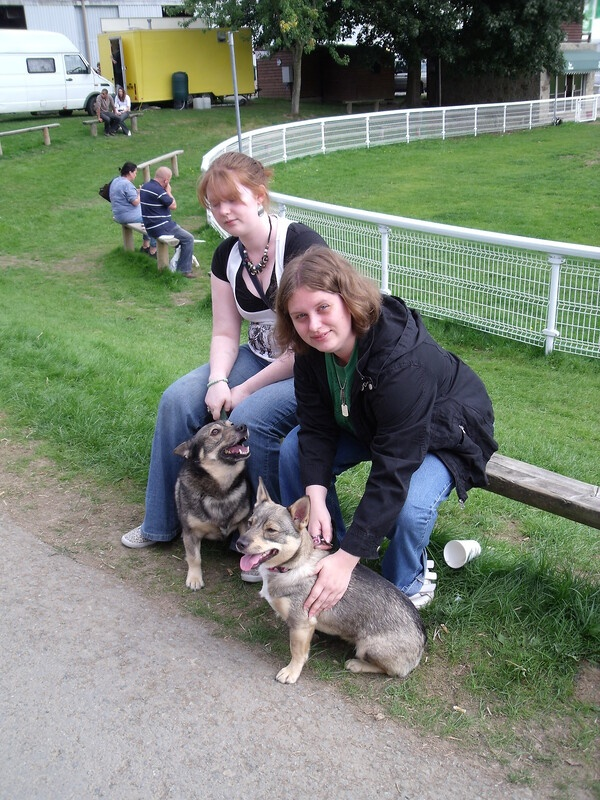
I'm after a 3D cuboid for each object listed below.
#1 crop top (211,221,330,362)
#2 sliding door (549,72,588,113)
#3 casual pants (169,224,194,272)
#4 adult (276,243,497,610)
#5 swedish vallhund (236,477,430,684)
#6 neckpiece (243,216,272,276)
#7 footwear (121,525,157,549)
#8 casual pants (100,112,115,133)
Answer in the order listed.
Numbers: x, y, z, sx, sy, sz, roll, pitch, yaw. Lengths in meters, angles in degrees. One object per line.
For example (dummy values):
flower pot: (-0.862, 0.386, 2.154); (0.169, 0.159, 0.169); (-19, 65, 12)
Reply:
crop top: (-0.175, -0.593, 3.363); (0.590, 0.716, 0.362); (2, 19, 27)
sliding door: (14.980, -17.589, 34.731); (0.447, 2.062, 5.193); (13, 18, 40)
casual pants: (-2.250, -2.925, 11.794); (0.313, 1.143, 0.383); (-6, -1, -1)
adult: (0.306, 0.161, 2.633); (0.885, 1.558, 1.253); (3, 25, 20)
swedish vallhund: (0.129, 0.716, 2.420); (0.807, 0.743, 0.409); (8, 12, -18)
neckpiece: (-0.224, -0.777, 3.140); (0.049, 0.281, 0.169); (-11, 10, -42)
footwear: (-0.858, 0.708, 3.258); (0.082, 0.080, 0.194); (16, 2, 43)
casual pants: (-7.266, -10.471, 23.556); (0.526, 0.762, 0.448); (-3, 15, -19)
